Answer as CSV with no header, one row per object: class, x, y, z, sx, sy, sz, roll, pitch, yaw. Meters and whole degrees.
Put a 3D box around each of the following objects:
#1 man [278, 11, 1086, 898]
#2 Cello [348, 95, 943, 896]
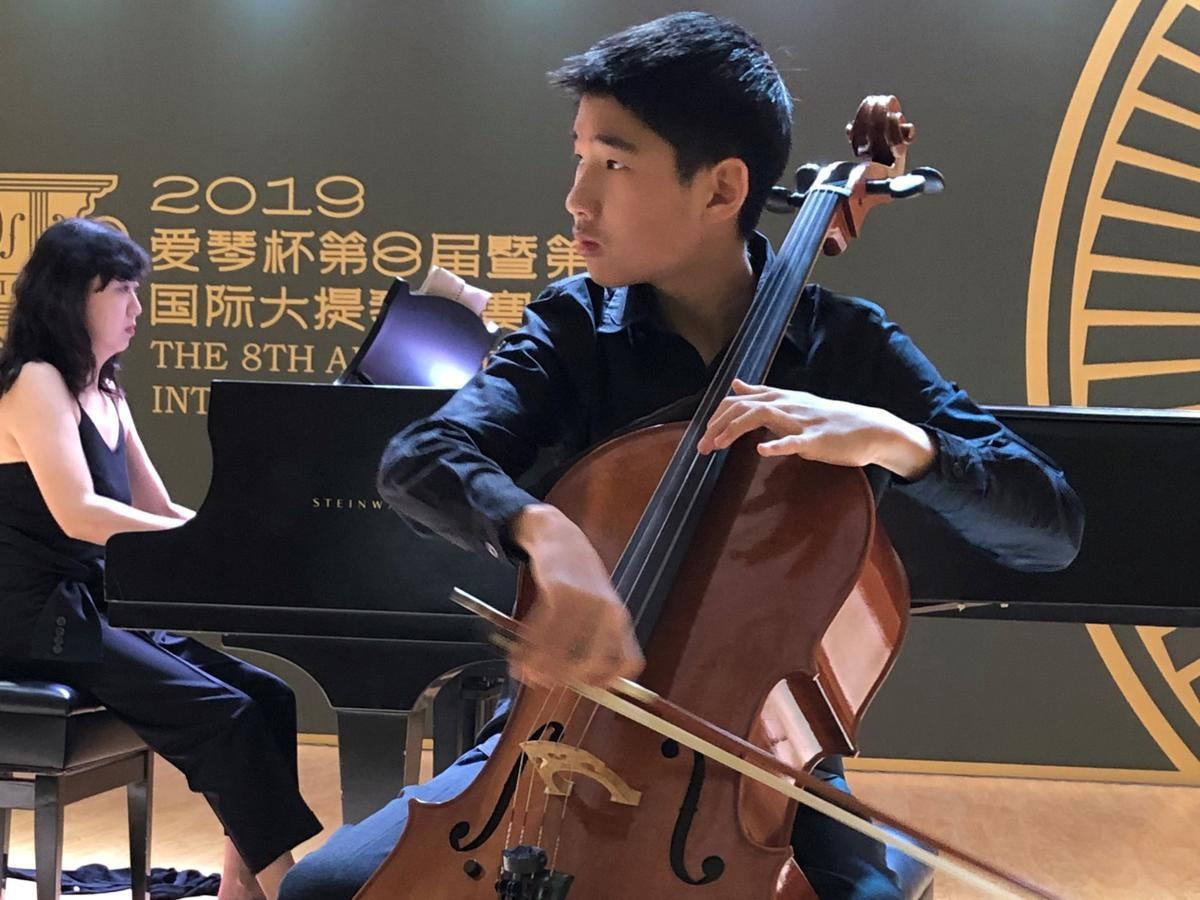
man,0.183,0.045,3.322,1.165,2.179,0.769,13,-15,4
Cello,0.218,0.051,2.853,1.251,1.583,0.743,-5,10,-42
